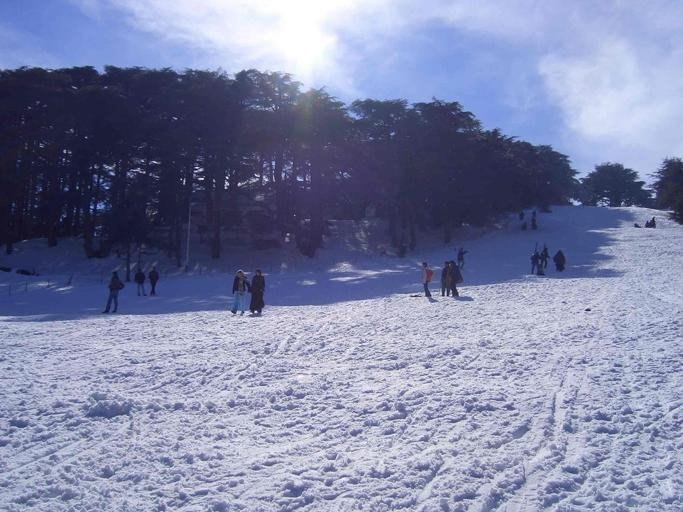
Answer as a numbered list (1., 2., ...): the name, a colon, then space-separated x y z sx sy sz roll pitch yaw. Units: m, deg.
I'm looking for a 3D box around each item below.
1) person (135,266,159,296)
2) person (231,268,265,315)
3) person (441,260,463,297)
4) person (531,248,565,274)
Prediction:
1. person: -10.343 1.394 30.375 1.324 1.800 0.571 1 3 1
2. person: -4.037 1.608 24.541 1.505 2.319 0.788 3 -13 -12
3. person: 5.118 1.100 26.838 0.802 2.287 1.153 7 -10 -15
4. person: 12.372 0.327 34.481 1.469 1.285 0.558 -2 -18 17
